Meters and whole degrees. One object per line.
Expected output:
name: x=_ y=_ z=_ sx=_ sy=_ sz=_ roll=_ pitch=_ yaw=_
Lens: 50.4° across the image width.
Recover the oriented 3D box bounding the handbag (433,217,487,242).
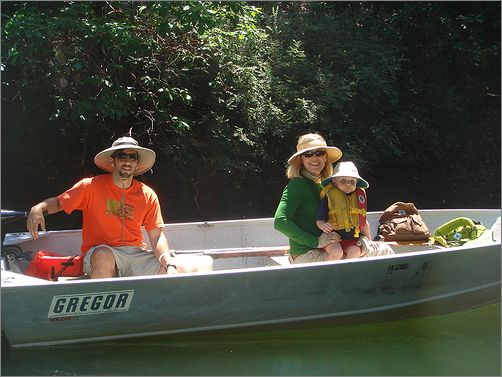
handbag: x=2.320 y=0.471 z=5.970 sx=0.397 sy=0.140 sz=0.295 roll=-28 pitch=-3 yaw=25

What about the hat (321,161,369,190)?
hat: x=0.902 y=-0.132 z=5.029 sx=0.305 sy=0.145 sz=0.293 roll=0 pitch=-6 yaw=3

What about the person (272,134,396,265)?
person: x=0.866 y=0.099 z=4.904 sx=1.380 sy=1.275 sz=0.927 roll=-7 pitch=-2 yaw=13

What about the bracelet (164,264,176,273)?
bracelet: x=-0.718 y=0.712 z=4.822 sx=0.103 sy=0.061 sz=0.093 roll=2 pitch=-28 yaw=-21

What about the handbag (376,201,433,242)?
handbag: x=1.767 y=0.396 z=6.149 sx=0.602 sy=0.533 sz=0.300 roll=-4 pitch=-21 yaw=-16

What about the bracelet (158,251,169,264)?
bracelet: x=-0.791 y=0.637 z=4.891 sx=0.091 sy=0.021 sz=0.084 roll=-33 pitch=5 yaw=7

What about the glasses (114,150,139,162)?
glasses: x=-1.155 y=-0.295 z=4.900 sx=0.235 sy=0.113 sz=0.094 roll=-4 pitch=-3 yaw=-9

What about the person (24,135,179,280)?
person: x=-1.303 y=0.305 z=4.770 sx=1.313 sy=1.452 sz=0.975 roll=2 pitch=0 yaw=-19
